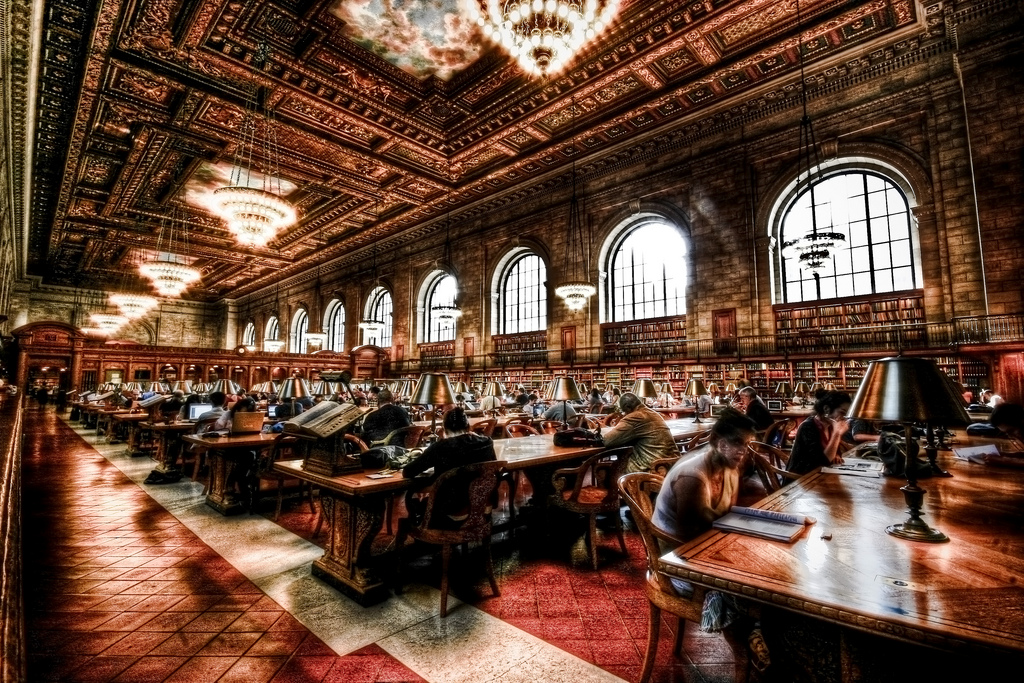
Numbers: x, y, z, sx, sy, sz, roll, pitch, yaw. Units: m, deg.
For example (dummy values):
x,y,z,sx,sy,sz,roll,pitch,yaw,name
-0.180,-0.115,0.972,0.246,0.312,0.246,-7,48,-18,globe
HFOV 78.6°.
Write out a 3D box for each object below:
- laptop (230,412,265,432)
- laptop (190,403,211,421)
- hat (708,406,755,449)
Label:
x,y,z,sx,sy,sz,roll,pitch,yaw,name
-3.886,1.177,9.185,0.301,0.282,0.441,13,3,43,laptop
-5.163,1.134,10.341,0.469,0.301,0.331,2,-14,-30,laptop
2.102,0.828,6.035,0.307,0.358,0.374,15,-7,-33,hat
